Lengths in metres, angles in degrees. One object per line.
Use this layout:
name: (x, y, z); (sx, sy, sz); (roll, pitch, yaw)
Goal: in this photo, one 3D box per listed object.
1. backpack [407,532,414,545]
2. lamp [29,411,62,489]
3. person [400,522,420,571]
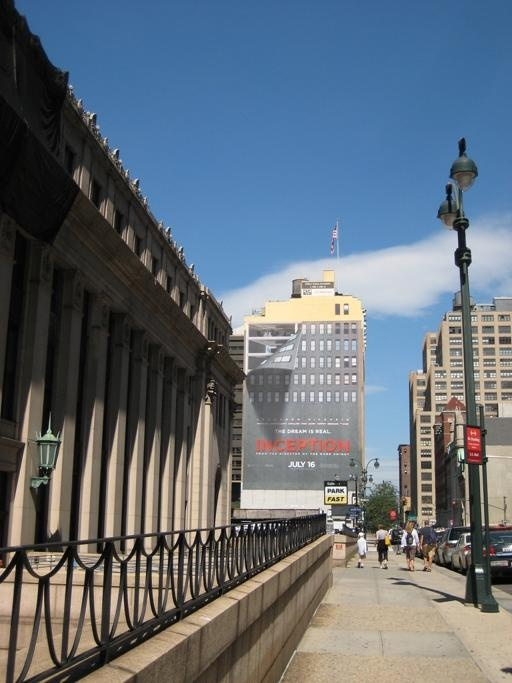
backpack: (6.234, 8.016, 26.242); (0.352, 0.670, 0.301); (-1, -10, 17)
lamp: (-6.304, 3.316, 19.474); (0.690, 2.061, 0.690); (0, -26, -13)
person: (6.293, 8.372, 26.409); (0.475, 1.919, 0.569); (-5, -24, 22)
